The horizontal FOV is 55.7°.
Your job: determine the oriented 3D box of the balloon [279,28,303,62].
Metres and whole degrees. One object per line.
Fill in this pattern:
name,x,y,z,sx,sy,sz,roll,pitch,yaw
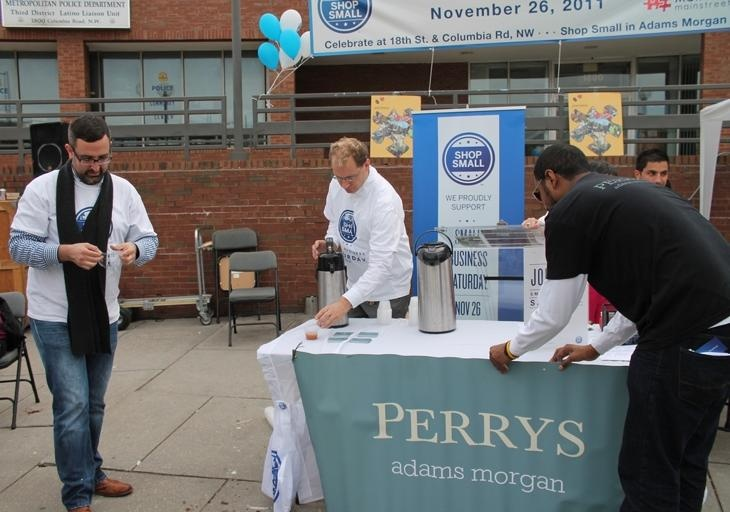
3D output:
balloon,-1.218,-3.450,11.259,0.352,0.480,0.365,-2,13,-6

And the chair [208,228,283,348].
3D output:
chair,-1.591,0.348,9.334,0.911,1.269,1.459,-4,13,-12

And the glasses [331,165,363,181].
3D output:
glasses,-0.125,-0.649,5.271,0.136,0.125,0.158,-1,51,17

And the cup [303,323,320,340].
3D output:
cup,-0.387,0.551,5.039,0.094,0.074,0.099,0,-2,0

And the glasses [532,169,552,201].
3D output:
glasses,1.102,-0.453,4.415,0.046,0.156,0.153,-5,-13,21

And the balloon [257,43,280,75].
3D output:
balloon,-1.646,-3.455,11.874,0.362,0.414,0.310,-7,14,-23

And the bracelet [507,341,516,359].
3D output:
bracelet,0.924,0.602,4.419,0.036,0.095,0.073,-8,-26,36

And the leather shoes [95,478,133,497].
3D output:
leather shoes,-1.883,1.736,5.219,0.270,0.113,0.119,2,5,-3

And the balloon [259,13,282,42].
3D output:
balloon,-1.557,-3.784,11.418,0.328,0.439,0.466,-2,13,-6

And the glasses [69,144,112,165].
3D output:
glasses,-1.932,-0.749,4.879,0.222,0.231,0.182,-6,42,-36
